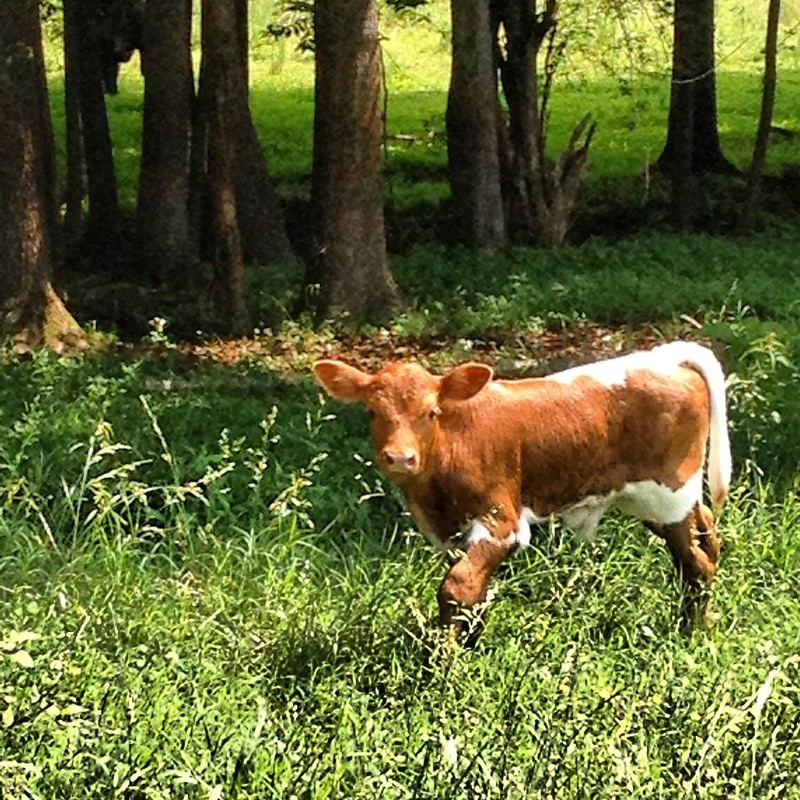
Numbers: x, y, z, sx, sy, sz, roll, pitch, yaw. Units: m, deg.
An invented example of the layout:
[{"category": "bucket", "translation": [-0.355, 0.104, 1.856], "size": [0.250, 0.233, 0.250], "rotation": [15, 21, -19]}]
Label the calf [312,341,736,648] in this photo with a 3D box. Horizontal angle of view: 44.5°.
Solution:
[{"category": "calf", "translation": [0.617, 0.370, 3.958], "size": [1.727, 1.287, 0.552], "rotation": [-12, 20, -25]}]
